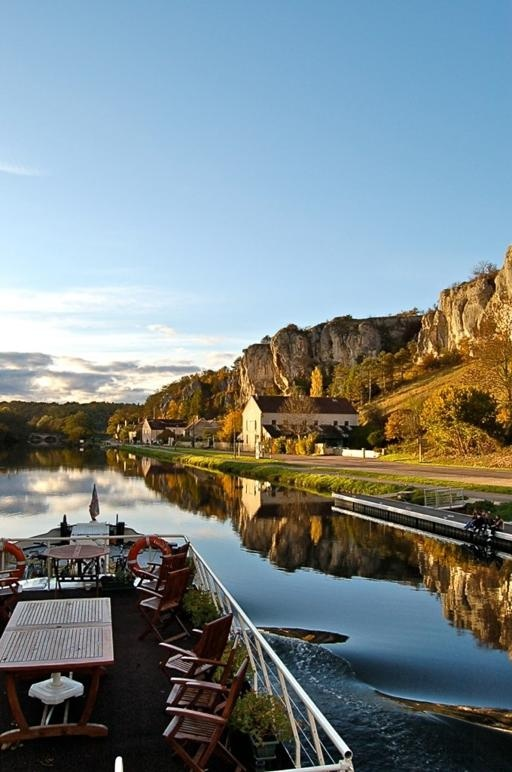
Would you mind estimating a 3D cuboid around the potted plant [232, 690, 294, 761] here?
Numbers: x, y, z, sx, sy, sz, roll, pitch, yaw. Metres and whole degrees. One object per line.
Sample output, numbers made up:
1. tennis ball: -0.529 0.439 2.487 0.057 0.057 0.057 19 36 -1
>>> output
1. potted plant: 0.043 2.745 5.269 0.385 0.560 0.489 4 -17 -8
